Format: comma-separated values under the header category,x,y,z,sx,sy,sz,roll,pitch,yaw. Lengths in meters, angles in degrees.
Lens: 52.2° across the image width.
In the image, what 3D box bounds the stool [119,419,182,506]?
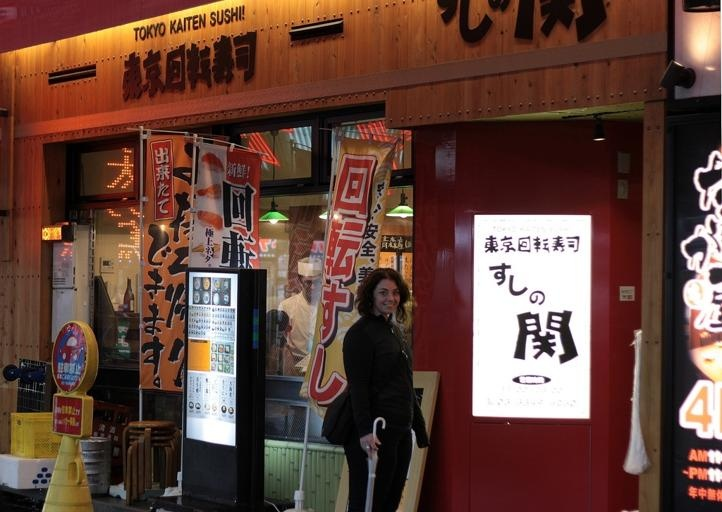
category,x,y,z,sx,sy,sz,roll,pitch,yaw
stool,-2.243,2.128,7.753,0.637,1.075,0.683,-3,-3,41

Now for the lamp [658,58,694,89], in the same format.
category,x,y,z,sx,sy,sz,roll,pitch,yaw
lamp,2.486,-1.418,5.861,0.195,0.289,0.215,7,5,-9

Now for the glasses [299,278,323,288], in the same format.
category,x,y,z,sx,sy,sz,roll,pitch,yaw
glasses,-0.548,0.283,7.897,0.117,0.070,0.167,6,-5,-26

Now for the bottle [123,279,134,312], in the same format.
category,x,y,z,sx,sy,sz,roll,pitch,yaw
bottle,-2.928,0.493,9.240,0.175,0.397,0.040,-2,-7,32

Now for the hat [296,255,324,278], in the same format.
category,x,y,z,sx,sy,sz,roll,pitch,yaw
hat,-0.548,0.123,7.900,0.209,0.162,0.229,2,1,27

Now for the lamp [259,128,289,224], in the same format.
category,x,y,z,sx,sy,sz,roll,pitch,yaw
lamp,-0.958,-0.864,8.131,0.369,1.018,0.127,-3,-8,36

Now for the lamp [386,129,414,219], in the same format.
category,x,y,z,sx,sy,sz,roll,pitch,yaw
lamp,0.417,-0.832,7.447,0.262,0.862,0.323,3,-5,-25
